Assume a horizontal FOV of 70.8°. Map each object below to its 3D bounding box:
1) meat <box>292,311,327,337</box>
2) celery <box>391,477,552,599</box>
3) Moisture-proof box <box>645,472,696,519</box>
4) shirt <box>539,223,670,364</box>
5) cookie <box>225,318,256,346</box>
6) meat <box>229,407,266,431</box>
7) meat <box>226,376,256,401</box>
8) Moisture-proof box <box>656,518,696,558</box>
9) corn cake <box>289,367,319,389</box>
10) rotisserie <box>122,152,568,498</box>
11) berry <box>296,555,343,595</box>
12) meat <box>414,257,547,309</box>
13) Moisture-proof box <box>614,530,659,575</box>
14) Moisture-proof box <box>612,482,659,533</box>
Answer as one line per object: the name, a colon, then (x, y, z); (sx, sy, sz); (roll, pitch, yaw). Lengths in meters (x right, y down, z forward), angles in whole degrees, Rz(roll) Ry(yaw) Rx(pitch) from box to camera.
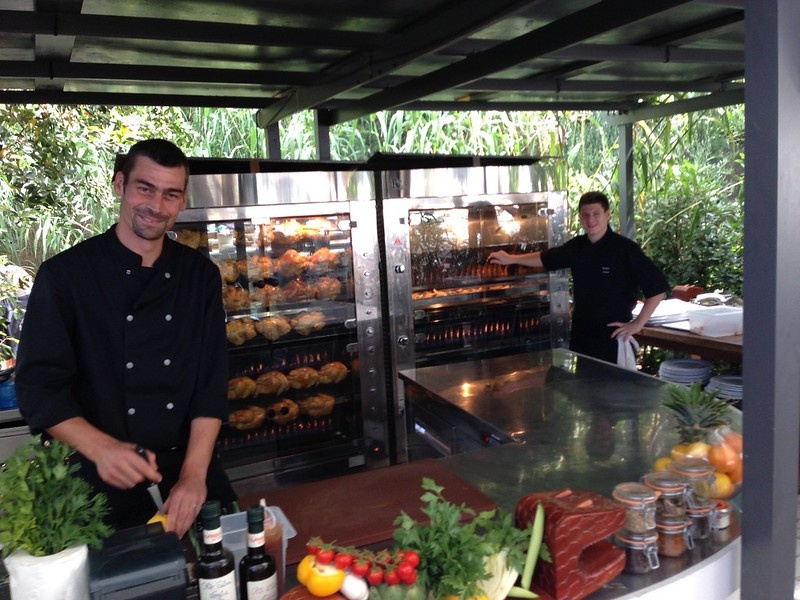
meat: (-0.681, 0.166, 4.196); (0.178, 0.083, 0.193); (-4, 23, -2)
celery: (0.228, 0.633, 1.494); (0.402, 0.146, 0.376); (3, 43, -17)
Moisture-proof box: (0.883, 0.630, 1.863); (0.149, 0.125, 0.110); (1, 7, 42)
shirt: (1.716, -0.041, 4.818); (0.397, 1.118, 1.289); (-17, 21, -34)
cookie: (-1.134, 0.226, 4.040); (0.207, 0.190, 0.102); (-4, 12, -25)
meat: (-1.109, 0.864, 4.159); (0.263, 0.148, 0.083); (-1, 3, -31)
meat: (-1.137, 0.637, 4.073); (0.179, 0.114, 0.235); (1, 11, 10)
Moisture-proof box: (0.892, 0.779, 1.849); (0.120, 0.107, 0.100); (-5, -6, 38)
corn cake: (-0.728, 0.590, 4.254); (0.147, 0.097, 0.191); (4, 8, 22)
rotisserie: (-0.337, 0.098, 4.940); (3.210, 2.458, 1.098); (-7, 9, -29)
berry: (-0.206, 0.715, 1.457); (0.130, 0.089, 0.055); (2, 11, 30)
meat: (0.719, -0.132, 4.748); (1.191, 0.348, 0.083); (-3, 4, -26)
Moisture-proof box: (0.749, 0.789, 1.816); (0.127, 0.115, 0.127); (-3, 3, -9)
Moisture-proof box: (0.748, 0.652, 1.797); (0.121, 0.123, 0.140); (-2, 3, -5)
